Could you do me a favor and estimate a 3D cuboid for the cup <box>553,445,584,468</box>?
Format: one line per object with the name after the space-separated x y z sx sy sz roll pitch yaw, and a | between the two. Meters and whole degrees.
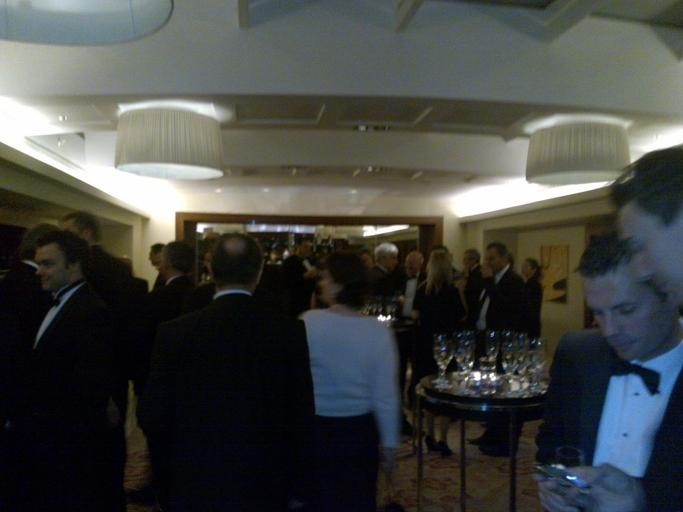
0.703 0.617 1.728 0.060 0.064 0.063 0 -6 0 | cup

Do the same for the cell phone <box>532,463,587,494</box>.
0.661 0.661 1.706 0.165 0.054 0.042 15 -19 33 | cell phone

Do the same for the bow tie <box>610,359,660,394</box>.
0.969 0.393 1.844 0.040 0.112 0.106 -22 27 -37 | bow tie
